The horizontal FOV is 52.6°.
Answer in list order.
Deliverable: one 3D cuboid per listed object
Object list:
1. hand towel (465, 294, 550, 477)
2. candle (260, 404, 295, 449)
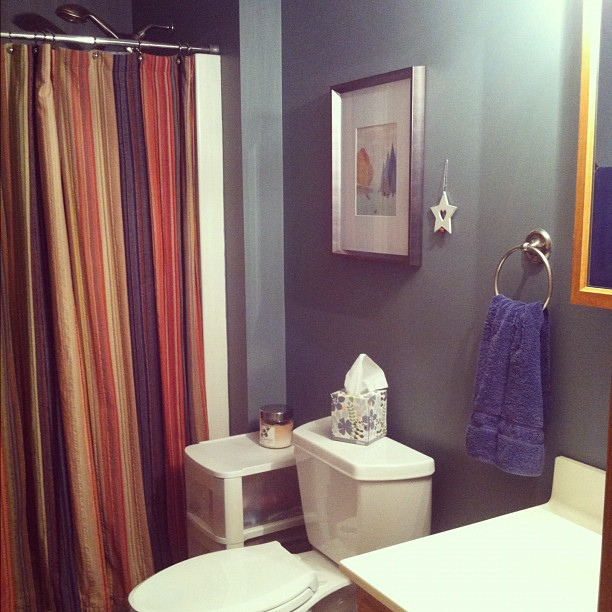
[{"bbox_3d":[0.428,0.171,1.312,0.107,0.498,0.241,-4,7,-40],"label":"hand towel"},{"bbox_3d":[-0.099,0.398,2.091,0.111,0.138,0.121,0,3,-7],"label":"candle"}]
